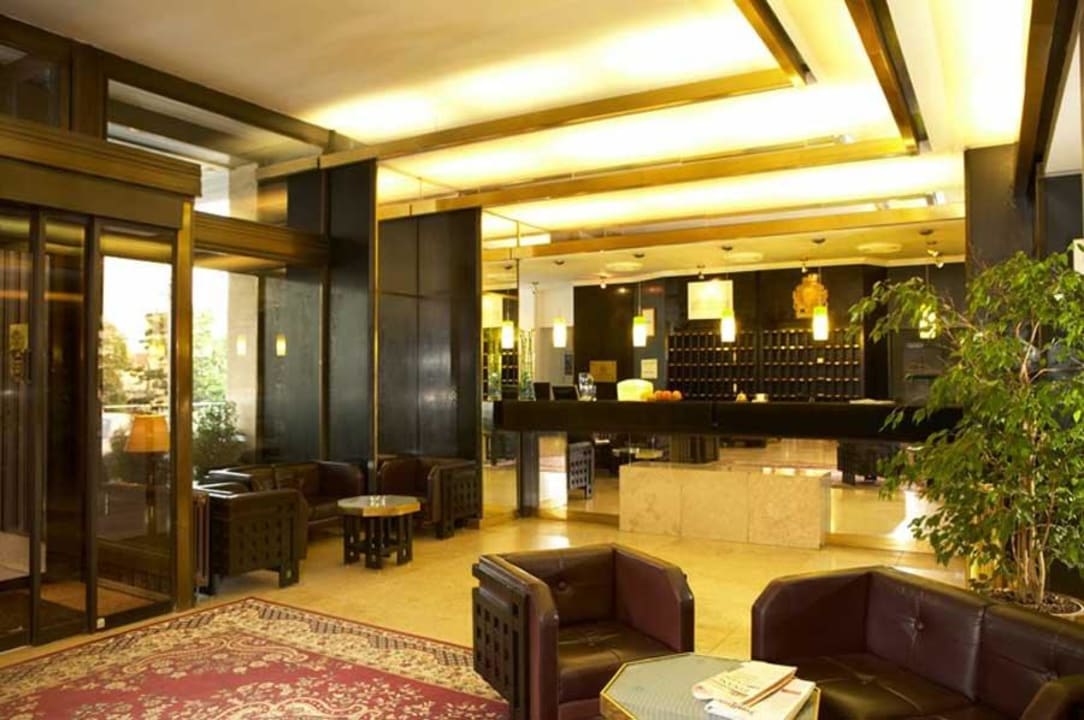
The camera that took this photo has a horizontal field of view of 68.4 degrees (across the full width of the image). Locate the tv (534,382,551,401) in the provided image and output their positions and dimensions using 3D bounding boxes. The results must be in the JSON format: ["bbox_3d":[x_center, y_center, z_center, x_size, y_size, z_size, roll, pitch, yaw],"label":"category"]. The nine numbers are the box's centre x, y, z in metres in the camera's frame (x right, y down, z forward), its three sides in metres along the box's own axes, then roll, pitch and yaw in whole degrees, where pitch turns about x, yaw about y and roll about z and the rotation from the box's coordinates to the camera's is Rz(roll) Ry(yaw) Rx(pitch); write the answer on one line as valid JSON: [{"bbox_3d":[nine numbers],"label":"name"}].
[{"bbox_3d":[-0.001,0.488,12.093,0.304,0.268,0.235,5,-11,-27],"label":"tv"}]

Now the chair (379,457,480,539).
[{"bbox_3d":[-1.410,1.720,10.212,1.068,0.894,1.063,-1,-5,27],"label":"chair"}]

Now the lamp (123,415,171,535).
[{"bbox_3d":[-3.600,1.027,7.337,0.368,1.084,0.145,-4,7,-26],"label":"lamp"}]

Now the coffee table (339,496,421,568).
[{"bbox_3d":[-1.723,1.826,8.743,0.827,0.576,0.778,-4,-6,43],"label":"coffee table"}]

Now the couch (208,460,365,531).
[{"bbox_3d":[-2.765,1.439,9.441,0.770,0.664,1.484,-5,-5,35],"label":"couch"}]

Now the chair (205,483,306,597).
[{"bbox_3d":[-2.797,1.731,7.866,0.981,0.905,0.964,-5,-6,39],"label":"chair"}]
